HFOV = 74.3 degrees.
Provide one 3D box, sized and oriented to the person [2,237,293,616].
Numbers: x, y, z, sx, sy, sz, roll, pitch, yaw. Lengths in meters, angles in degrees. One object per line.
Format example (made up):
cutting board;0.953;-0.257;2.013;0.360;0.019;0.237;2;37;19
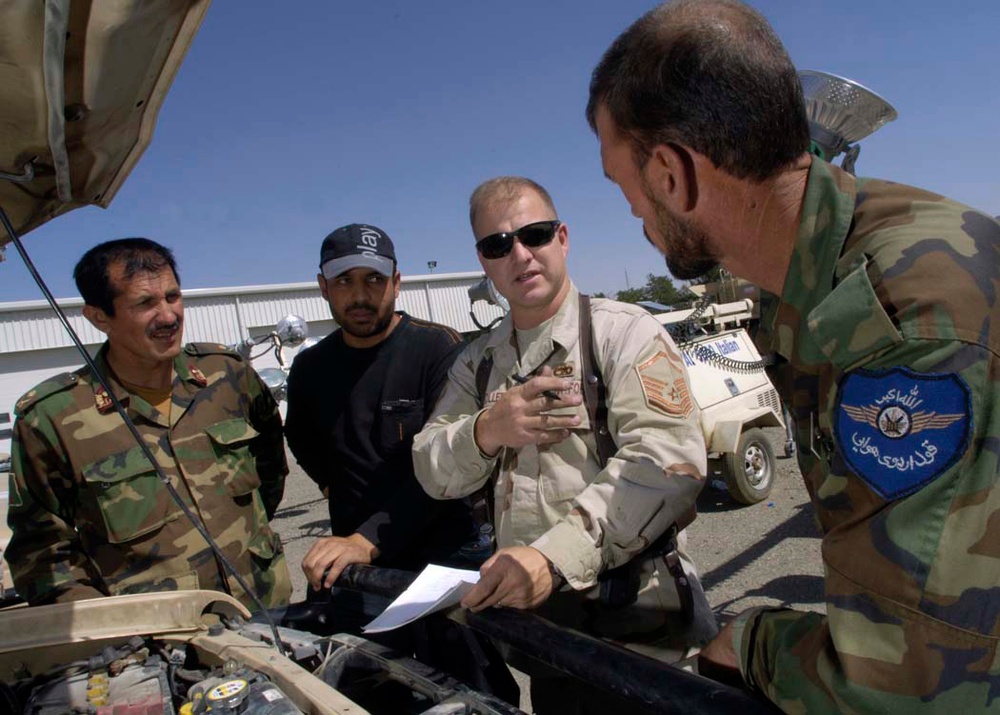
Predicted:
person;-1.667;0.366;3.089;1.186;1.955;0.758;-11;3;-25

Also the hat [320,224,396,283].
hat;-0.698;-0.518;3.211;0.381;0.271;0.518;-5;6;-17
